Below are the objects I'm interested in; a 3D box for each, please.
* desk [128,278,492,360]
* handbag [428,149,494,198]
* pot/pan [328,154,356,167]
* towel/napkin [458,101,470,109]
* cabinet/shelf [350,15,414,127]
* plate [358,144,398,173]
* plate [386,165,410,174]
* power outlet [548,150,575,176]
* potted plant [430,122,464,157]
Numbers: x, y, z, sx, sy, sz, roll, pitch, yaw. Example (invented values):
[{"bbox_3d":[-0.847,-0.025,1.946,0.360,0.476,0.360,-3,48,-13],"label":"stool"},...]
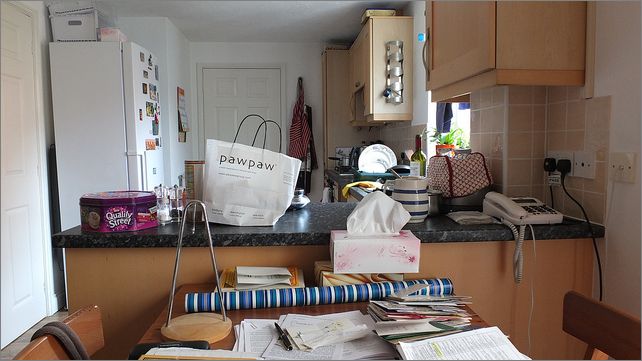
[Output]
[{"bbox_3d":[-0.201,0.693,2.121,1.409,0.204,0.580,-2,3,10],"label":"desk"},{"bbox_3d":[0.934,-0.034,2.938,0.360,0.261,0.396,-8,3,-7],"label":"handbag"},{"bbox_3d":[0.286,-0.252,5.385,0.271,0.105,0.139,0,3,-13],"label":"pot/pan"},{"bbox_3d":[1.365,-0.707,4.015,0.117,0.043,0.150,-1,0,12],"label":"towel/napkin"},{"bbox_3d":[0.676,-1.174,5.108,0.527,1.038,1.295,-2,4,-6],"label":"cabinet/shelf"},{"bbox_3d":[0.603,-0.246,4.591,0.406,0.310,0.279,-2,4,5],"label":"plate"},{"bbox_3d":[0.778,-0.108,4.181,0.155,0.077,0.134,-3,3,-13],"label":"plate"},{"bbox_3d":[1.523,-0.111,2.669,0.018,0.147,0.164,4,4,-26],"label":"power outlet"},{"bbox_3d":[1.157,-0.376,3.800,0.342,0.308,0.262,0,4,12],"label":"potted plant"}]
